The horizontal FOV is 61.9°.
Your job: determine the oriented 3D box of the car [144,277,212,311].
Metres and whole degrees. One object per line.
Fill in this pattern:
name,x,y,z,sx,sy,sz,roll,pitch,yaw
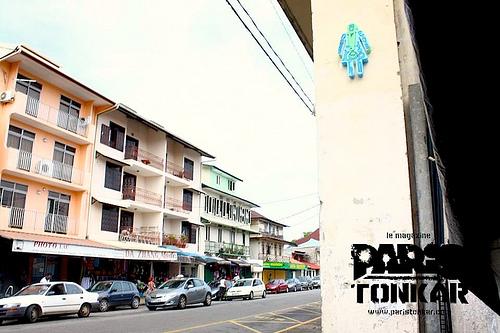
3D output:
car,-3.379,6.001,19.745,1.185,1.551,3.696,-12,-22,25

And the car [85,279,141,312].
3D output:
car,-6.142,5.873,18.815,1.177,0.988,2.083,-18,-31,27
